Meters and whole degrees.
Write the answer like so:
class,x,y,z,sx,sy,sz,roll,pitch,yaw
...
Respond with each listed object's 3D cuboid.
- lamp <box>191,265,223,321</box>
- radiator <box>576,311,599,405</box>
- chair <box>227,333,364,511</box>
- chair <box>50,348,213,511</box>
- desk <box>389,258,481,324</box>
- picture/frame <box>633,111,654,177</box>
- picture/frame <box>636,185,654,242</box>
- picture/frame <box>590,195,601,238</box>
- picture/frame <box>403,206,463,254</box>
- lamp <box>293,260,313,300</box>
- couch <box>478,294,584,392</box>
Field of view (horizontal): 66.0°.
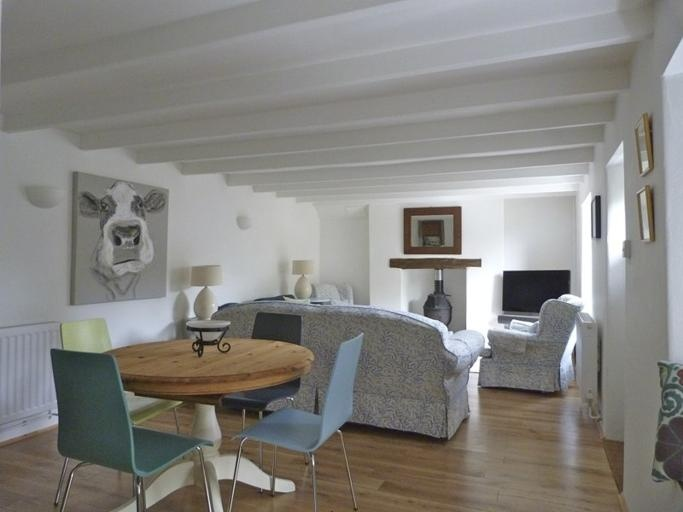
class,x,y,z,sx,sy,sz,roll,pitch,yaw
lamp,-1.550,0.428,6.045,0.340,0.616,0.352,-2,8,-15
radiator,2.239,0.934,4.797,0.105,0.670,0.860,-1,-2,14
chair,-0.232,1.060,3.304,0.628,1.137,0.925,3,8,23
chair,-1.202,0.806,2.932,0.640,0.653,0.403,2,8,19
desk,1.463,0.723,8.358,1.446,1.410,0.487,-1,-24,14
picture/frame,1.763,-0.651,3.074,0.059,0.397,0.429,0,1,18
picture/frame,1.794,-0.221,3.081,0.032,0.310,0.299,-8,-2,27
picture/frame,2.321,-0.359,4.823,0.046,0.354,0.456,1,-2,19
picture/frame,1.516,-0.421,8.582,0.680,0.655,0.074,0,2,20
lamp,-0.627,0.368,8.213,0.324,0.605,0.629,0,8,4
couch,2.072,0.959,5.849,1.000,1.066,0.898,-1,-6,21
